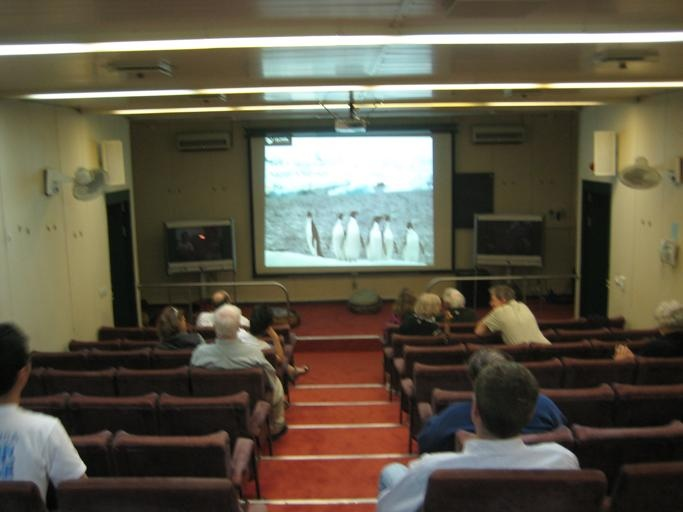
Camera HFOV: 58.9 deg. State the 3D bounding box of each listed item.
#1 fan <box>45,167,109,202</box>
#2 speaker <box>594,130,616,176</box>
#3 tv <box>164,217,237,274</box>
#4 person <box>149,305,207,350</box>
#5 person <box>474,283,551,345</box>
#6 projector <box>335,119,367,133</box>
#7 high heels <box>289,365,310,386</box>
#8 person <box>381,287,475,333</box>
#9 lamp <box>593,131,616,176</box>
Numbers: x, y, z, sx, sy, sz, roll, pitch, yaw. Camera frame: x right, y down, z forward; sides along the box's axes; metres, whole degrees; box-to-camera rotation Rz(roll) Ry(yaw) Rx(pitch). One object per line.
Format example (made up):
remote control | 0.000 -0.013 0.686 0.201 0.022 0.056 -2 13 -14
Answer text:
fan | -3.048 -0.834 6.921 0.558 0.282 0.352 -18 41 -35
speaker | 3.472 -1.362 7.966 0.280 0.578 0.161 -1 3 23
tv | -2.554 -0.188 10.871 1.027 0.814 0.212 -1 2 -12
person | -1.780 0.777 6.567 0.400 0.408 0.807 -11 -19 -4
person | 2.072 0.698 7.439 0.431 0.361 0.987 -13 44 -27
projector | 0.110 -1.561 7.233 0.378 0.119 0.348 1 6 3
high heels | -0.520 1.364 7.234 0.112 0.153 0.369 1 8 21
person | 1.015 0.624 6.651 0.680 0.507 0.907 -1 -4 -2
lamp | 3.472 -1.362 7.966 0.280 0.578 0.161 -1 3 23
